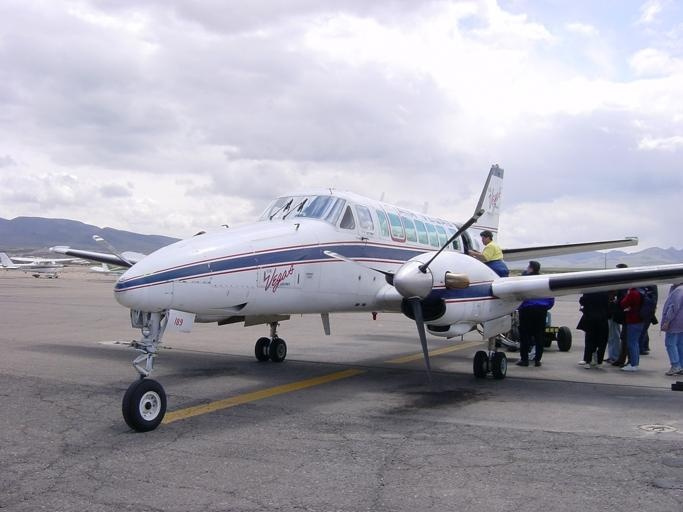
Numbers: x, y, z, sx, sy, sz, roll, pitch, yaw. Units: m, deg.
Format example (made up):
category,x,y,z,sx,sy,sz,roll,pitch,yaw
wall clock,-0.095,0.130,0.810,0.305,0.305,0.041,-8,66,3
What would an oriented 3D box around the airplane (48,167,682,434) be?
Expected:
category,x,y,z,sx,sy,sz,roll,pitch,yaw
airplane,0.404,0.280,8.068,7.425,2.135,6.975,-2,-3,45
